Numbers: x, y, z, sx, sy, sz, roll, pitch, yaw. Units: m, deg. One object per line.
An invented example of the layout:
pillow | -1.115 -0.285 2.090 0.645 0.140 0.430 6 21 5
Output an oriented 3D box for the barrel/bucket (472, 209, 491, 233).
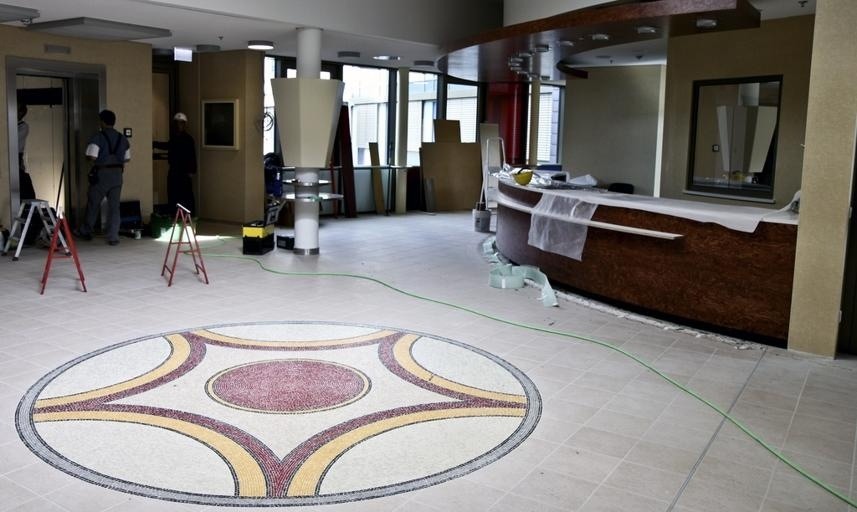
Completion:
barrel/bucket | 1.359 -0.890 13.178 0.589 0.602 0.561 -1 8 0

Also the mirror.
mirror | 5.719 -2.249 9.999 1.434 2.257 0.976 3 15 23

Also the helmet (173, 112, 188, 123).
helmet | -5.942 -3.341 12.668 0.276 0.180 0.365 14 12 -19

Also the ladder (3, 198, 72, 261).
ladder | -7.102 -0.454 9.513 1.344 1.079 0.954 -7 20 -36
